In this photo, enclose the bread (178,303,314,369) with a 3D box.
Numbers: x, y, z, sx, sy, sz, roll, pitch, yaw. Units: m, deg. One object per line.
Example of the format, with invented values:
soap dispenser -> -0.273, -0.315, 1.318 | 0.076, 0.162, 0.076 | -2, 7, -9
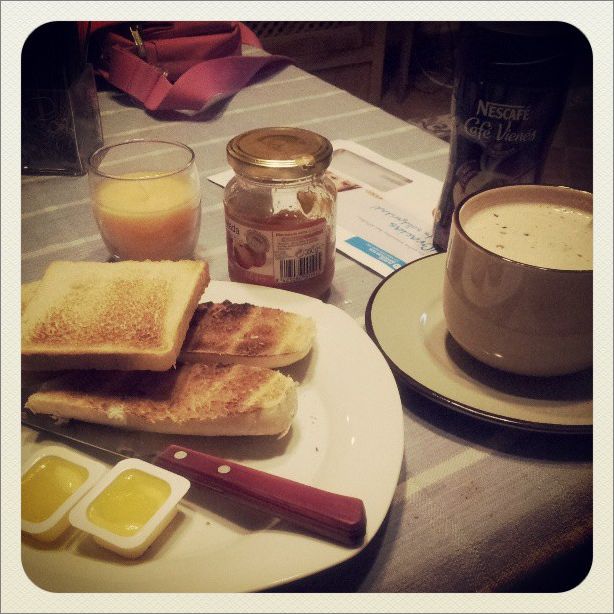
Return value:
bread -> -0.077, 0.038, 0.756 | 0.151, 0.036, 0.083 | 5, 55, 13
